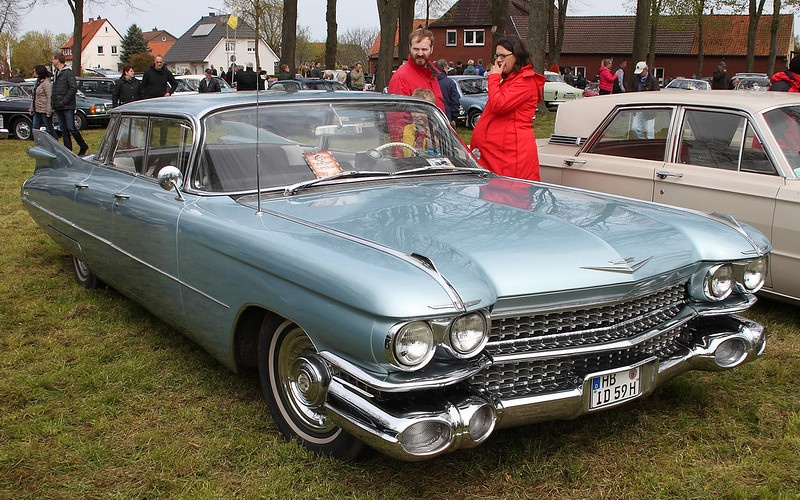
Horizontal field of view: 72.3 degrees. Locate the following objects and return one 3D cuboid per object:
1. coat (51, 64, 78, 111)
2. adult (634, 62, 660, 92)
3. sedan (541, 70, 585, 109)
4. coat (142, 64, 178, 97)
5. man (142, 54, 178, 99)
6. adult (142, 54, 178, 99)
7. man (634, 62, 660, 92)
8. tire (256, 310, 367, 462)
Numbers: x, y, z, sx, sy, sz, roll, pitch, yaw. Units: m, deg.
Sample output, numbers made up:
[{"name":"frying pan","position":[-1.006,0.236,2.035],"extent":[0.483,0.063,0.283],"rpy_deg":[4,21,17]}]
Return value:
[{"name":"coat","position":[-7.814,-3.768,12.765],"extent":[0.778,0.996,0.520],"rpy_deg":[14,13,39]},{"name":"adult","position":[6.963,-4.939,15.527],"extent":[0.586,0.758,2.255],"rpy_deg":[5,17,21]},{"name":"sedan","position":[7.037,-6.986,23.578],"extent":[1.358,0.989,2.797],"rpy_deg":[0,26,4]},{"name":"coat","position":[-6.089,-4.305,13.868],"extent":[0.882,0.897,0.439],"rpy_deg":[-11,32,-37]},{"name":"man","position":[-6.048,-4.264,13.786],"extent":[0.858,1.133,0.619],"rpy_deg":[-10,36,-34]},{"name":"adult","position":[-6.042,-4.263,13.761],"extent":[0.818,1.137,0.626],"rpy_deg":[-8,29,-31]},{"name":"man","position":[6.953,-4.932,15.503],"extent":[0.581,0.758,2.084],"rpy_deg":[5,17,21]},{"name":"tire","position":[-0.509,0.812,3.477],"extent":[0.862,0.892,0.283],"rpy_deg":[27,19,37]}]
